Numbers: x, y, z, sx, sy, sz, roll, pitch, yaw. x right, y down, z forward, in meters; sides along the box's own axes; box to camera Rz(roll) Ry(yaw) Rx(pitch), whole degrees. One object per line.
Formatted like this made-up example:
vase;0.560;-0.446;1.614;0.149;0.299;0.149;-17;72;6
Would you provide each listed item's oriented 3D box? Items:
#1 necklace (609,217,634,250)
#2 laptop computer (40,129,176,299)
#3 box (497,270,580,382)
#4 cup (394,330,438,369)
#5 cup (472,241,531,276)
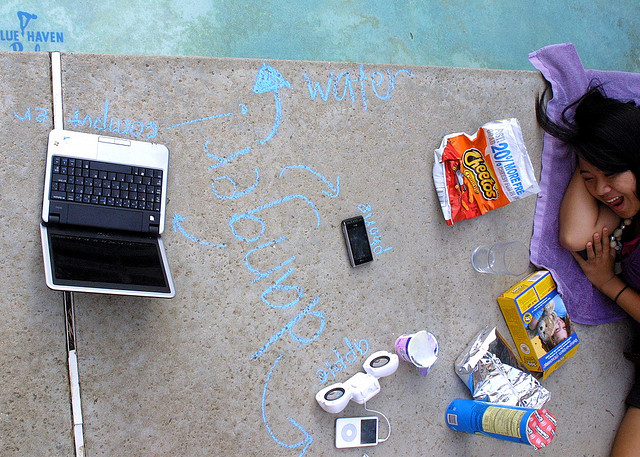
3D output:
necklace;1.291;0.032;2.750;0.045;0.100;0.133;25;82;14
laptop computer;-0.772;-0.051;2.330;0.479;0.176;0.594;1;66;-11
box;0.907;0.417;2.781;0.305;0.115;0.459;-24;91;-20
cup;0.408;0.464;2.604;0.156;0.146;0.140;-25;105;-33
cup;0.768;0.126;2.669;0.242;0.124;0.130;18;63;-3
